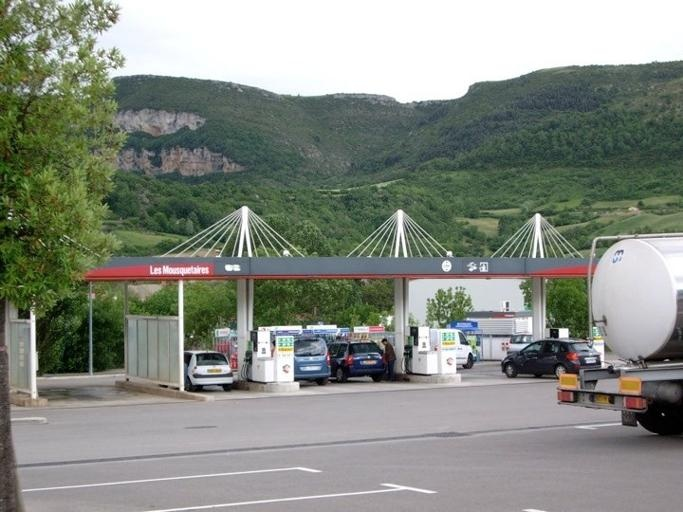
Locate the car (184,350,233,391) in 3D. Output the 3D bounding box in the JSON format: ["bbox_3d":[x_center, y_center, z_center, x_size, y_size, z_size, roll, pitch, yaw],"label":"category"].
[{"bbox_3d":[-4.669,3.889,33.900,0.970,0.884,1.783,0,4,-21],"label":"car"}]

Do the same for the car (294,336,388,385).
[{"bbox_3d":[-0.226,3.836,36.351,1.995,1.693,4.059,-5,-6,40],"label":"car"}]
